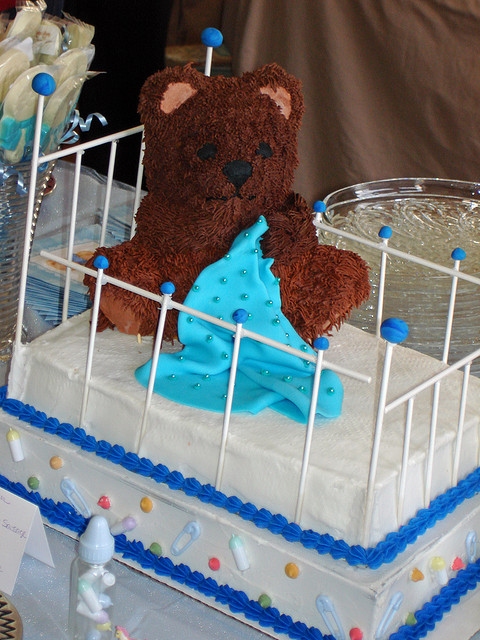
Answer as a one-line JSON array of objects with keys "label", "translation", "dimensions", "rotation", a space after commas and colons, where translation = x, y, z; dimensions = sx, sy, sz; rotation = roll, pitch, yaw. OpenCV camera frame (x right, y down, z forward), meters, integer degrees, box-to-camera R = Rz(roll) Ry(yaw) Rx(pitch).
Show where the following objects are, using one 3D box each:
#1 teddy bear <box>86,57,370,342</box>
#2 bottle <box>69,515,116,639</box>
[{"label": "teddy bear", "translation": [-0.023, -0.115, 0.639], "dimensions": [0.319, 0.264, 0.176], "rotation": [-2, 33, -19]}, {"label": "bottle", "translation": [-0.113, 0.201, 0.483], "dimensions": [0.040, 0.143, 0.035], "rotation": [0, 42, -19]}]
